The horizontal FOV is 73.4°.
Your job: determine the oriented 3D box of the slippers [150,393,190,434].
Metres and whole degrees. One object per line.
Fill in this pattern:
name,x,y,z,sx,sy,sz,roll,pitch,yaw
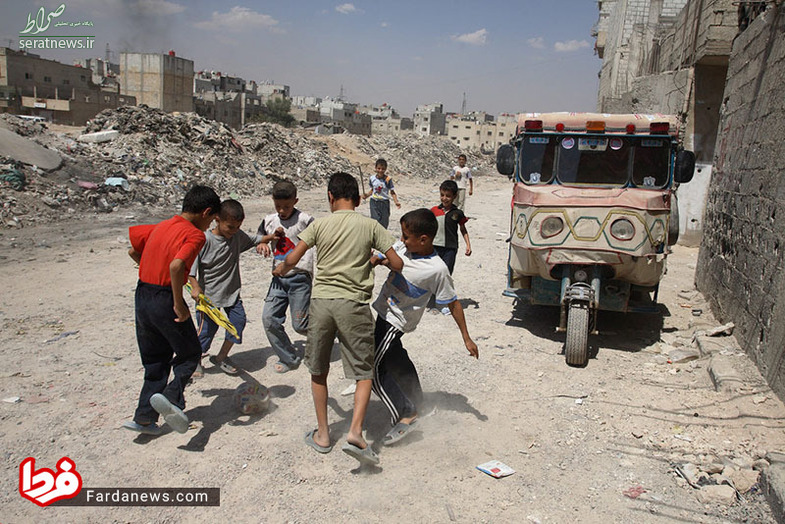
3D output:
slippers,-2.349,1.600,5.563,0.197,0.493,0.217,-40,5,5

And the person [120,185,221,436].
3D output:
person,-2.398,0.554,5.687,0.836,2.644,1.079,1,16,3

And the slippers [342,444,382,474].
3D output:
slippers,-0.301,1.958,5.368,0.479,0.184,0.217,35,-11,-16

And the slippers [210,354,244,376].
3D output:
slippers,-2.217,1.366,7.078,0.481,0.143,0.179,25,25,16

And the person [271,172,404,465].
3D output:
person,-0.514,0.563,5.558,1.095,2.873,1.341,-2,16,-8
